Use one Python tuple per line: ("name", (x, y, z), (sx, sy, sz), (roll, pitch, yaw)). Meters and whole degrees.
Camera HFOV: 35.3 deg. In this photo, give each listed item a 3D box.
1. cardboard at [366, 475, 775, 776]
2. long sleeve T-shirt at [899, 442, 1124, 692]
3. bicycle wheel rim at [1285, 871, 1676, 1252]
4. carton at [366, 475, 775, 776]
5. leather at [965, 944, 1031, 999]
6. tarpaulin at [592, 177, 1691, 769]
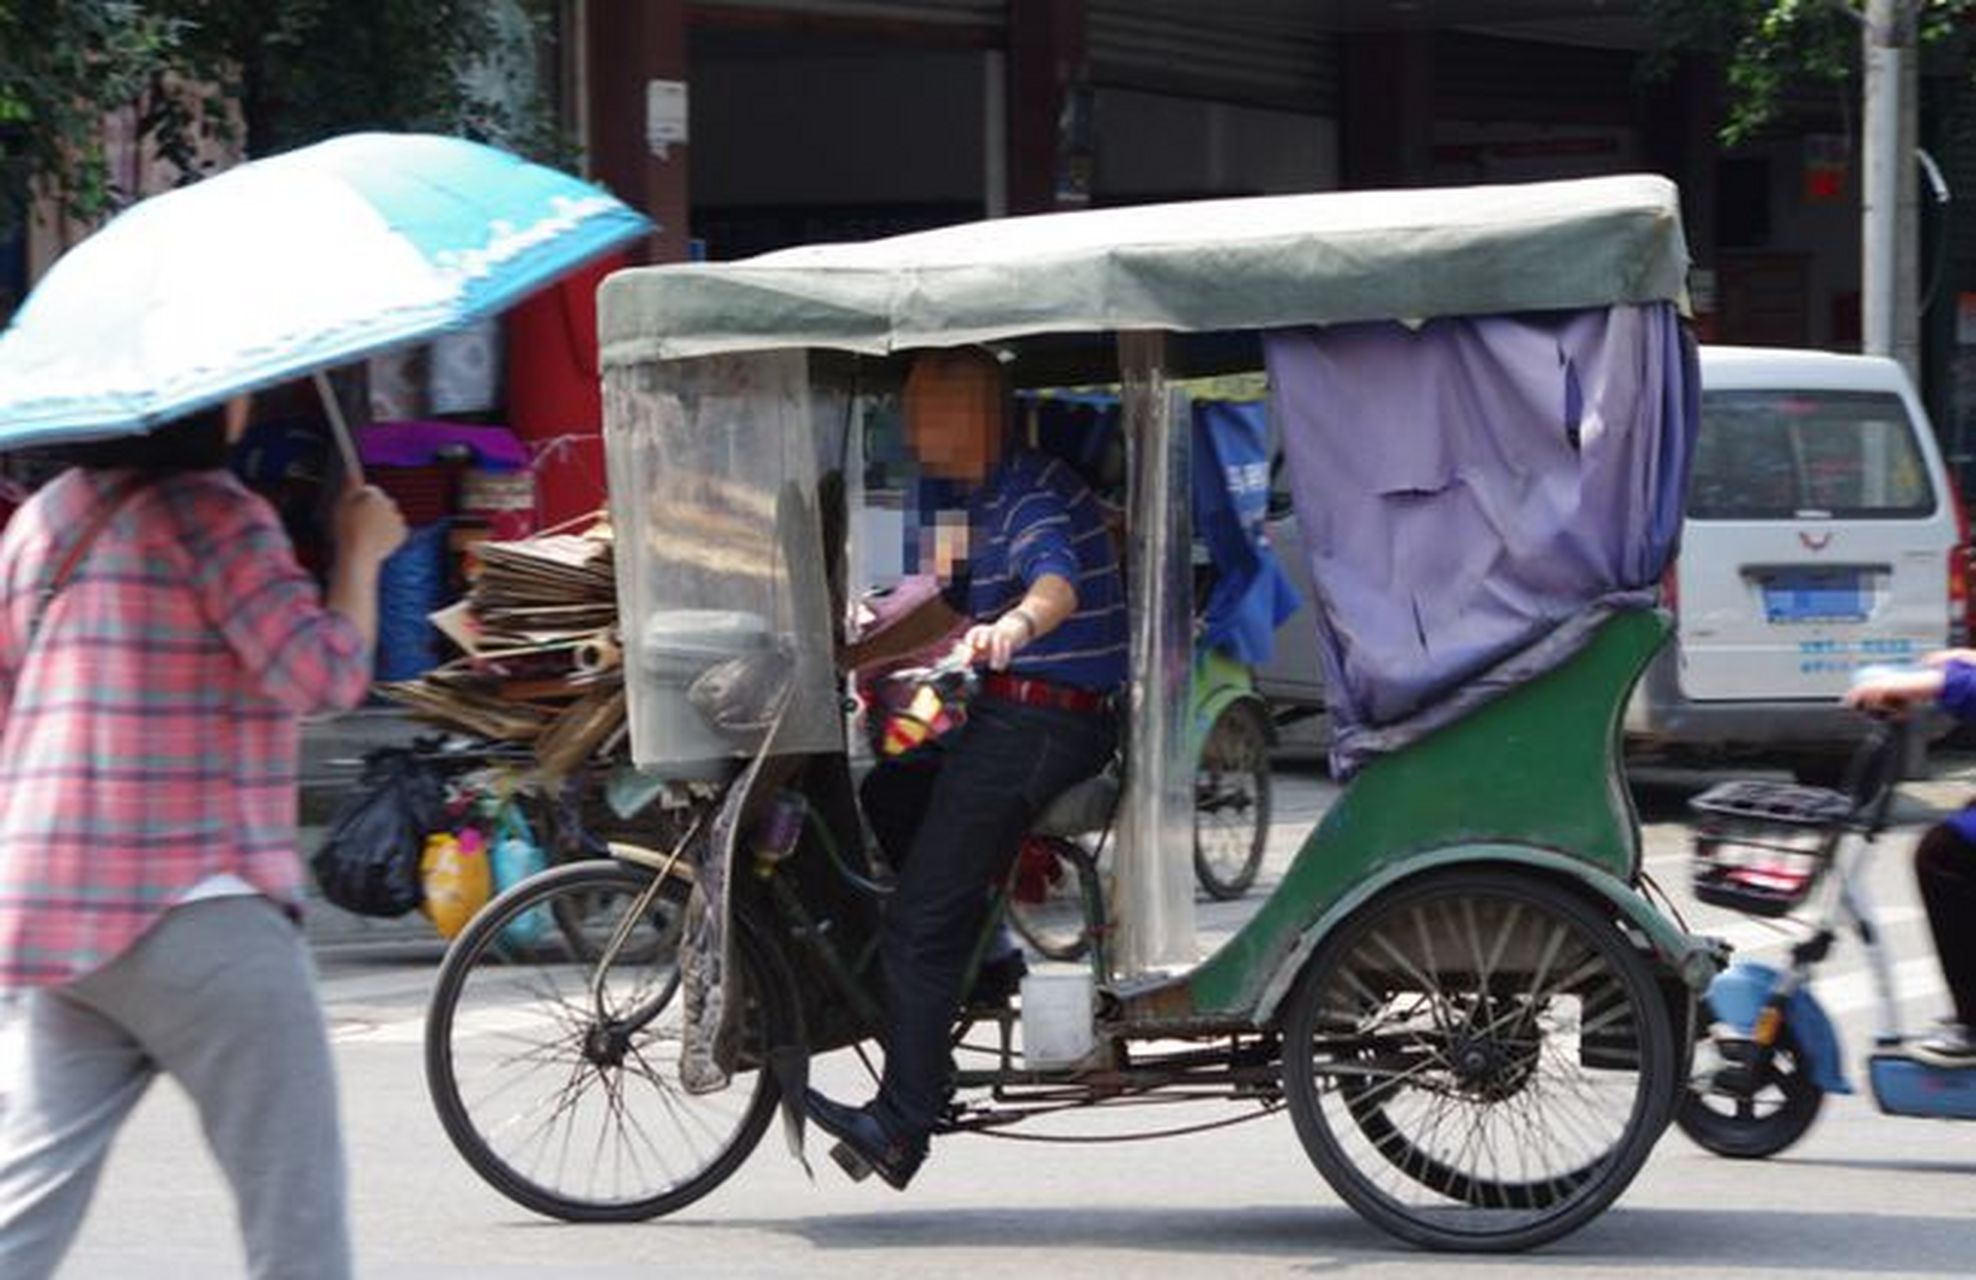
("cardboard", (-1.768, -0.058, 12.966), (1.380, 0.618, 1.337), (-11, -3, 30))
("long sleeve T-shirt", (0.079, -0.245, 10.092), (0.339, 0.465, 0.933), (-8, -3, -29))
("bicycle wheel rim", (1.578, 1.321, 10.002), (1.268, 1.224, 0.483), (1, 2, 6))
("carton", (-1.773, -0.030, 12.984), (1.380, 0.618, 1.337), (-11, -3, 30))
("leather", (0.031, 1.102, 10.150), (0.215, 0.150, 0.129), (1, -7, -1))
("tarpaulin", (0.486, -0.499, 10.109), (3.223, 0.715, 2.850), (-3, 1, 6))
